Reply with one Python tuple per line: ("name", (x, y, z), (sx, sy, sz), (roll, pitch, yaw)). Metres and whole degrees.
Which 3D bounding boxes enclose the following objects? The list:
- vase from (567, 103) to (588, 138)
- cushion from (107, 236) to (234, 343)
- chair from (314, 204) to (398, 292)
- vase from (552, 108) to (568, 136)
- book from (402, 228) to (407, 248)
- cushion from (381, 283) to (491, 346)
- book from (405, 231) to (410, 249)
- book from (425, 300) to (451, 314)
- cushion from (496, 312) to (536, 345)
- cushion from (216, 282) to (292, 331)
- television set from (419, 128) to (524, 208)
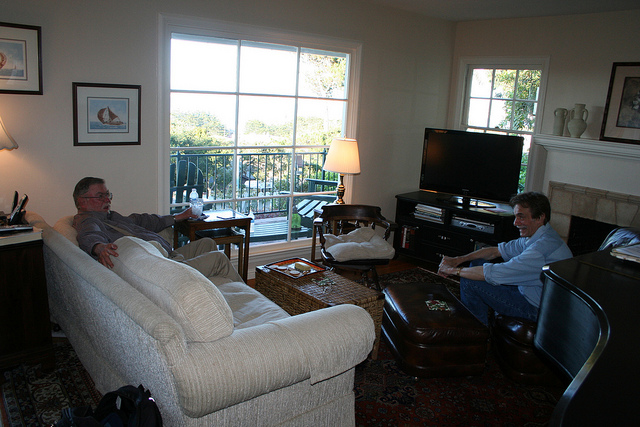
("vase", (2.796, -1.006, 4.753), (0.180, 0.357, 0.214), (8, 15, 29))
("cushion", (-0.862, 0.408, 2.495), (0.901, 0.376, 0.262), (11, 17, 40))
("chair", (0.330, 0.423, 4.489), (0.780, 0.972, 0.658), (1, 7, -6))
("vase", (2.671, -1.019, 4.876), (0.133, 0.299, 0.167), (7, 14, 26))
("book", (1.033, 0.298, 5.395), (0.037, 0.163, 0.161), (7, 8, 7))
("cushion", (0.881, 0.815, 3.560), (0.684, 0.230, 0.985), (1, 13, -9))
("book", (1.069, 0.325, 5.385), (0.037, 0.156, 0.155), (5, 3, 6))
("book", (0.898, 0.713, 3.355), (0.188, 0.038, 0.181), (0, 12, -4))
("cushion", (1.471, 0.861, 3.309), (0.208, 0.077, 0.209), (-5, 9, -43))
("cushion", (-0.455, 0.632, 2.964), (0.259, 0.065, 0.470), (-6, 14, -26))
("television set", (1.772, -0.516, 5.091), (0.918, 0.685, 0.250), (9, 10, 28))
